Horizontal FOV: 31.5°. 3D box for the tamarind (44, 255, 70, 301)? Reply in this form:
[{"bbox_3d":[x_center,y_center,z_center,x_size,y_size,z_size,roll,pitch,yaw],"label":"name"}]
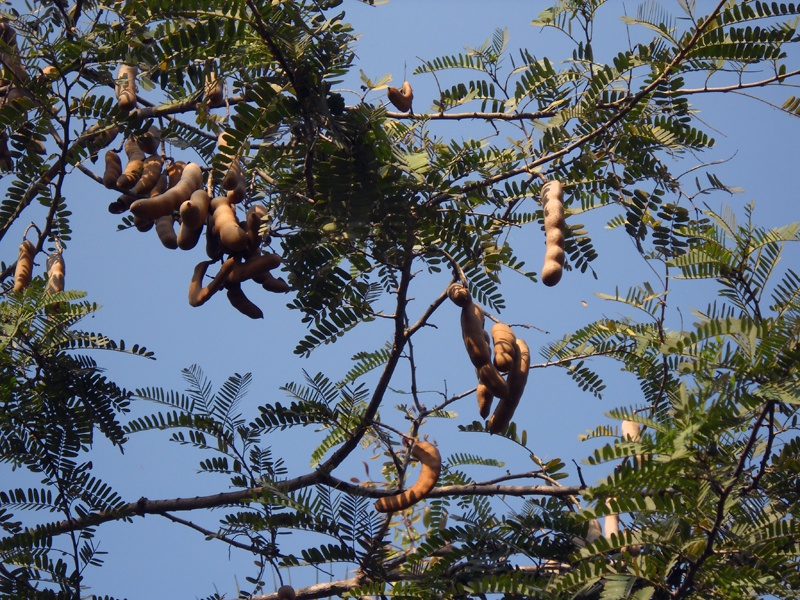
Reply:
[{"bbox_3d":[-1.506,-0.077,6.179,0.065,0.257,0.064,-30,-52,7],"label":"tamarind"}]
